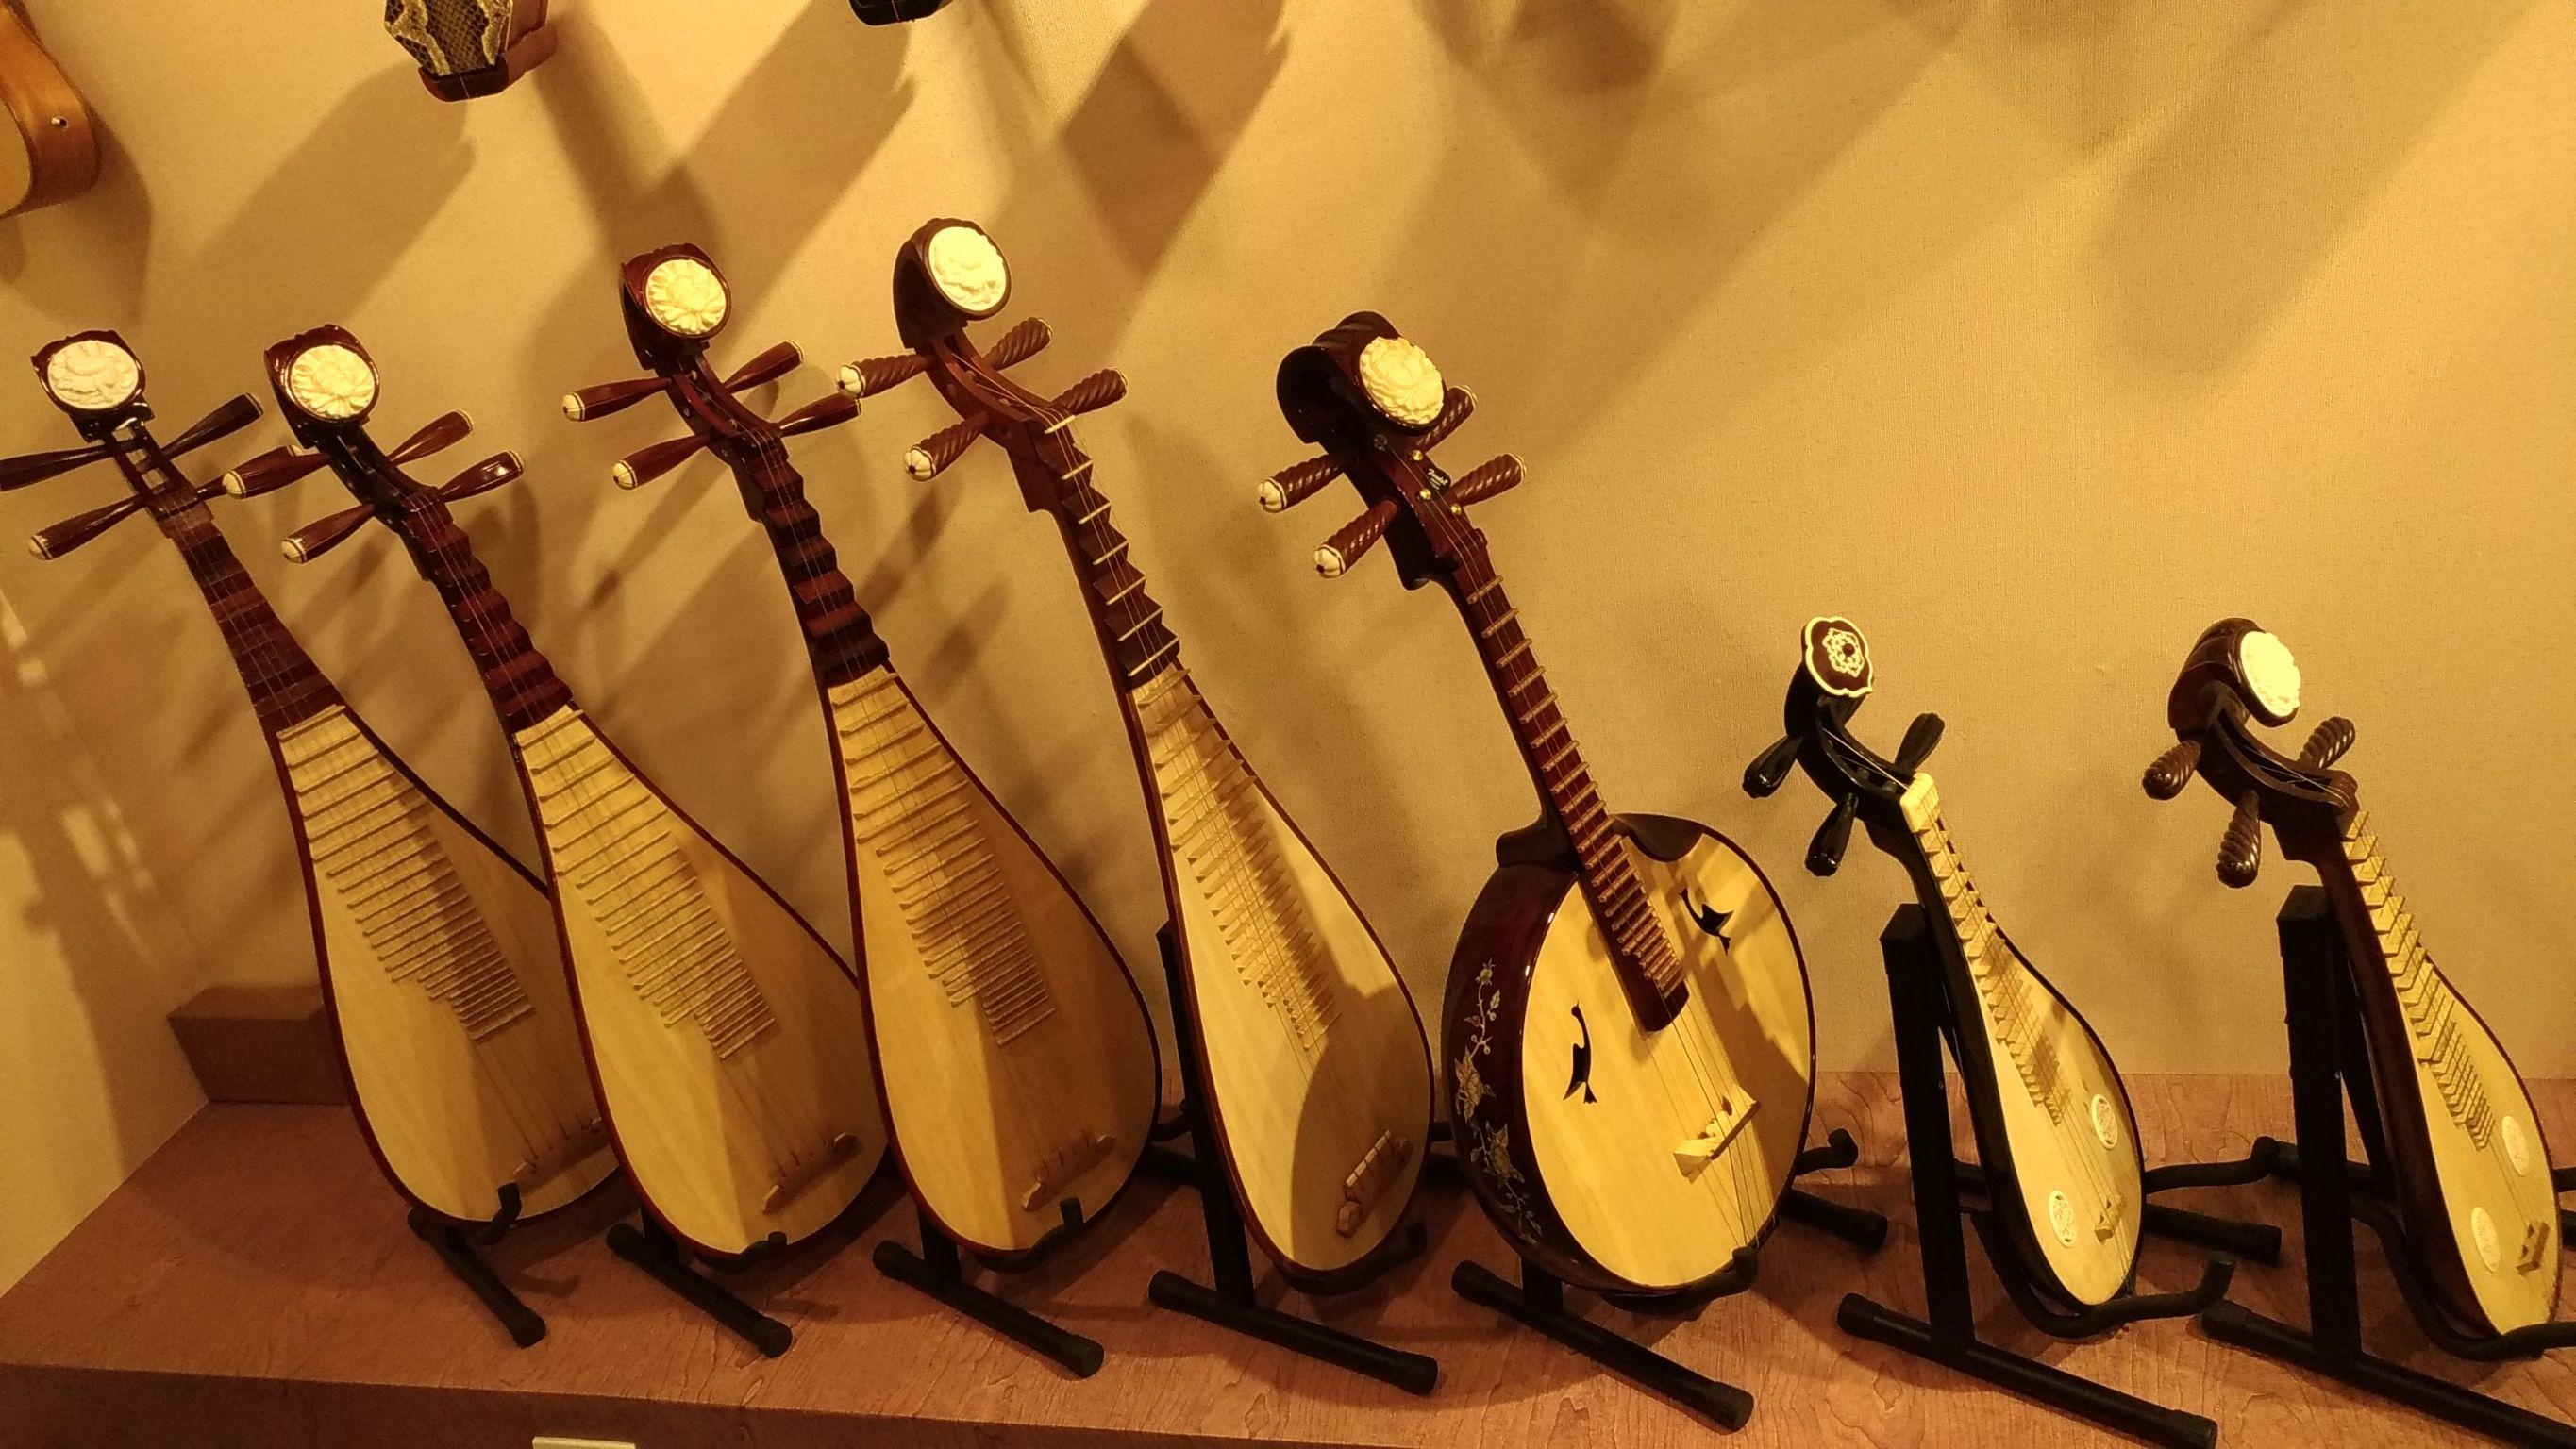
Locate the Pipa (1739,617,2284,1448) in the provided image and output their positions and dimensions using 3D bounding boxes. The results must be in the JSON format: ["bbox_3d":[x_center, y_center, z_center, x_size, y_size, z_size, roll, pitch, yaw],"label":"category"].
[{"bbox_3d":[0.987,0.416,3.172,0.712,1.251,0.514,2,34,38],"label":"Pipa"}]

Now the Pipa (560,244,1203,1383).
[{"bbox_3d":[-0.483,0.241,3.235,0.548,1.843,0.265,-24,12,-26],"label":"Pipa"}]

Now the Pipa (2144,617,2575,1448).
[{"bbox_3d":[1.405,0.388,3.016,0.551,1.039,0.307,3,13,17],"label":"Pipa"}]
